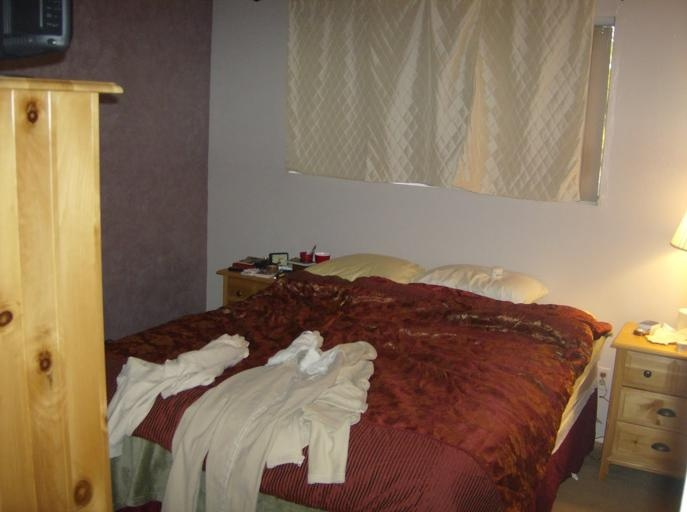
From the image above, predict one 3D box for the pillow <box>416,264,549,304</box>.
[{"bbox_3d":[0.901,0.166,3.463,0.483,0.169,0.367,6,11,33],"label":"pillow"}]
